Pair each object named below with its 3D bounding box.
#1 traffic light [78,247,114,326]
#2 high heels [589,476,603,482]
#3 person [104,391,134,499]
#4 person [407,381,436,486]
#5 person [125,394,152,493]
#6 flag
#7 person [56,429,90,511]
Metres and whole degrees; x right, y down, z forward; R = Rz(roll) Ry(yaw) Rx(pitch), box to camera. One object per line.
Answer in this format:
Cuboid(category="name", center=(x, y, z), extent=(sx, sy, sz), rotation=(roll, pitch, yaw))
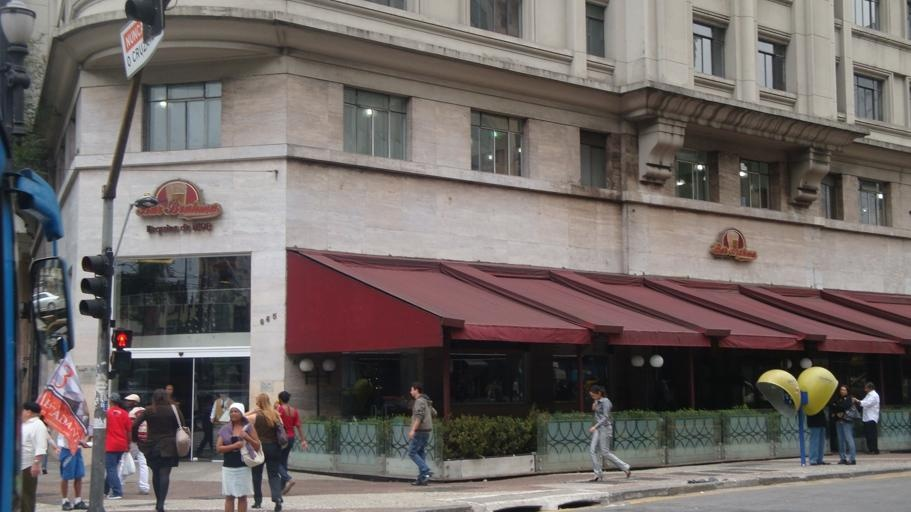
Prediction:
Cuboid(category="traffic light", center=(-12.493, 1.153, 55.809), extent=(0.944, 2.807, 1.173), rotation=(-4, -7, 43))
Cuboid(category="high heels", center=(5.037, 8.302, 58.939), extent=(0.541, 0.218, 0.160), rotation=(2, -11, 5))
Cuboid(category="person", center=(-12.200, 6.823, 57.243), extent=(1.208, 3.714, 1.434), rotation=(2, -3, -26))
Cuboid(category="person", center=(-1.415, 6.617, 58.718), extent=(0.948, 3.354, 1.088), rotation=(-1, 0, -7))
Cuboid(category="person", center=(-11.770, 7.122, 58.493), extent=(0.951, 4.028, 1.087), rotation=(-1, -2, -11))
Cuboid(category="flag", center=(-13.229, 5.056, 54.085), extent=(1.961, 4.473, 1.639), rotation=(0, 1, -20))
Cuboid(category="person", center=(-13.497, 7.539, 56.256), extent=(1.198, 2.733, 1.176), rotation=(-1, -2, -20))
